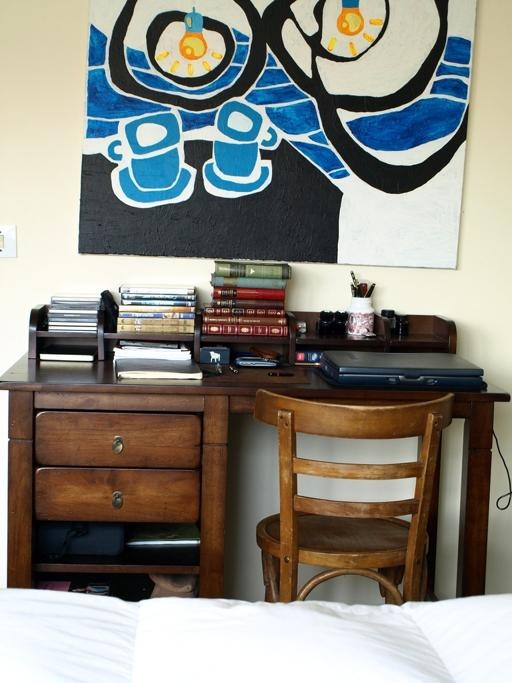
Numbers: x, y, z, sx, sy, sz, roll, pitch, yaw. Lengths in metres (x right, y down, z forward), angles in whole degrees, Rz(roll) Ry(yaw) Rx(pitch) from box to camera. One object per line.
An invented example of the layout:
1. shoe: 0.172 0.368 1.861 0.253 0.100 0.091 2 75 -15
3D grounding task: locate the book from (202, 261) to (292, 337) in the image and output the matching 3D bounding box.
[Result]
1. book: -0.049 -0.118 1.922 0.297 0.278 0.219 2 1 -7

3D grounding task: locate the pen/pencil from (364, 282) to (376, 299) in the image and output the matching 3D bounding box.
1. pen/pencil: 0.377 -0.169 1.948 0.027 0.023 0.102 -1 19 10
